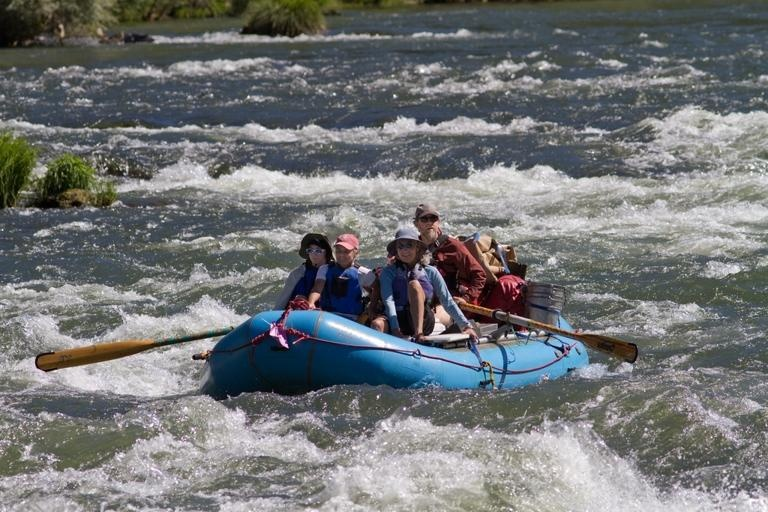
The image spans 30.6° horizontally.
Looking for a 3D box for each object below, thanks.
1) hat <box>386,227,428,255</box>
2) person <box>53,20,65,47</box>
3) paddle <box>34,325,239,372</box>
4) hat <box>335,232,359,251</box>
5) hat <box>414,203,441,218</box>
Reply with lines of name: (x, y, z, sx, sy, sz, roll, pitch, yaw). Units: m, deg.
hat: (0.380, -0.251, 24.035, 0.634, 0.513, 0.322, -1, 19, -3)
person: (-10.514, -7.291, 45.738, 0.305, 0.703, 0.439, -4, 19, -11)
paddle: (-4.371, 1.640, 24.810, 4.161, 0.468, 0.273, -7, 11, -3)
hat: (-0.664, -0.265, 24.319, 0.376, 0.281, 0.408, -3, 17, -8)
hat: (0.734, -0.799, 24.483, 0.419, 0.256, 0.253, 4, 18, 14)
